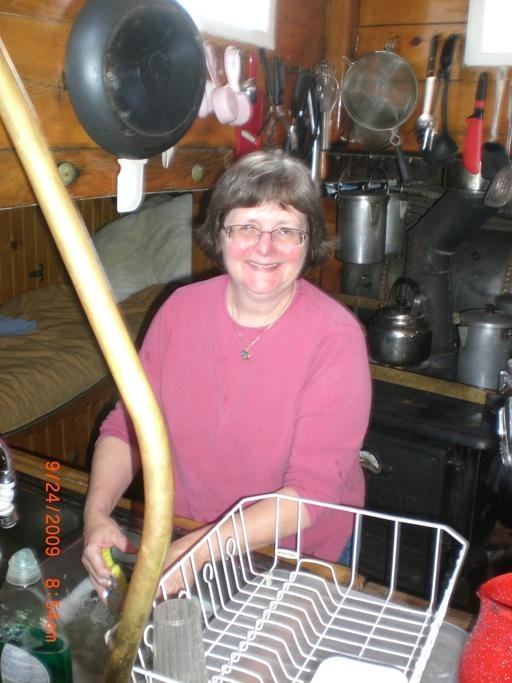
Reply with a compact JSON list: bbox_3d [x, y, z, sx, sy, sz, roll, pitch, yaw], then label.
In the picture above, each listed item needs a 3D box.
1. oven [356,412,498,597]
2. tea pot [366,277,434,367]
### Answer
[{"bbox_3d":[0.640,0.557,1.927,0.468,0.552,0.400,2,2,-37],"label":"oven"},{"bbox_3d":[0.499,-0.061,1.991,0.208,0.311,0.169,0,13,1],"label":"tea pot"}]
